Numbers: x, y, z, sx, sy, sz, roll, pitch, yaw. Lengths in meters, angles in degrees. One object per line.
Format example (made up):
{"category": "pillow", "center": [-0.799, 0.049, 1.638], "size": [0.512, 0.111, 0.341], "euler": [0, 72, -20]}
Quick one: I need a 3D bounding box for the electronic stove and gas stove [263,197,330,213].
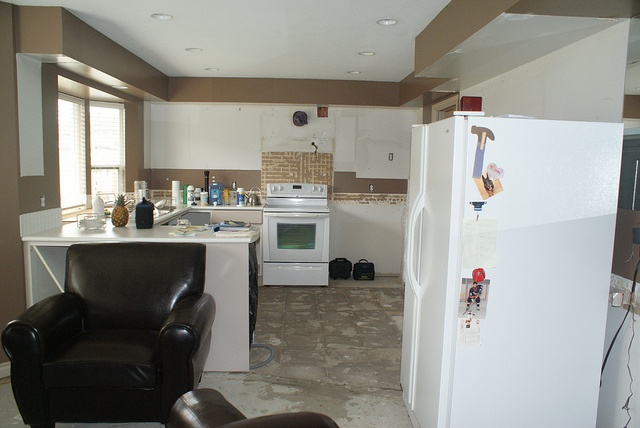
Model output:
{"category": "electronic stove and gas stove", "center": [-0.321, -0.128, 6.611], "size": [0.865, 0.140, 0.657], "euler": [3, 11, -1]}

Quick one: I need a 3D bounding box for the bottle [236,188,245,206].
{"category": "bottle", "center": [-1.107, -0.239, 6.706], "size": [0.101, 0.226, 0.349], "euler": [1, 11, -10]}

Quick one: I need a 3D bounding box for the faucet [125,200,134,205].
{"category": "faucet", "center": [-2.094, -0.120, 5.238], "size": [0.088, 0.031, 0.087], "euler": [5, 6, 26]}

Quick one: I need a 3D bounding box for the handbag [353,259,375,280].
{"category": "handbag", "center": [0.618, 0.815, 6.861], "size": [0.262, 0.242, 0.259], "euler": [1, -7, -4]}

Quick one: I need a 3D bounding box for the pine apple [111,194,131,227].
{"category": "pine apple", "center": [-1.920, -0.026, 4.638], "size": [0.177, 0.293, 0.209], "euler": [10, 13, 31]}

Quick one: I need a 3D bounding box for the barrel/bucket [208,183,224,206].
{"category": "barrel/bucket", "center": [-1.463, -0.276, 6.704], "size": [0.198, 0.288, 0.420], "euler": [1, 11, -14]}

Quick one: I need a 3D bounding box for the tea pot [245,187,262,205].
{"category": "tea pot", "center": [-0.953, -0.240, 6.765], "size": [0.244, 0.240, 0.304], "euler": [4, 11, 1]}

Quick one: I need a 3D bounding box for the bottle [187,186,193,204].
{"category": "bottle", "center": [-1.811, -0.268, 6.702], "size": [0.089, 0.220, 0.330], "euler": [1, 11, -14]}

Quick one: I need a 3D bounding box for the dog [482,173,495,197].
{"category": "dog", "center": [1.114, -0.183, 3.161], "size": [0.072, 0.133, 0.040], "euler": [-20, 6, 0]}

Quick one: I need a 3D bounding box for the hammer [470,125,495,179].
{"category": "hammer", "center": [1.062, -0.399, 3.148], "size": [0.159, 0.338, 0.052], "euler": [1, 12, -13]}

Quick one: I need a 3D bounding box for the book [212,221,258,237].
{"category": "book", "center": [-0.765, 0.130, 4.317], "size": [0.392, 0.076, 0.372], "euler": [2, 11, -6]}

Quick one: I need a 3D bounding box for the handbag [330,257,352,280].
{"category": "handbag", "center": [0.250, 0.737, 6.874], "size": [0.443, 0.427, 0.247], "euler": [0, -3, 0]}

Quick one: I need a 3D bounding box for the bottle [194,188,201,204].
{"category": "bottle", "center": [-1.716, -0.247, 6.703], "size": [0.085, 0.192, 0.208], "euler": [1, 11, -13]}

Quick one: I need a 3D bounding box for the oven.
{"category": "oven", "center": [-0.294, 0.492, 6.750], "size": [1.105, 1.234, 0.893], "euler": [0, -1, -2]}
